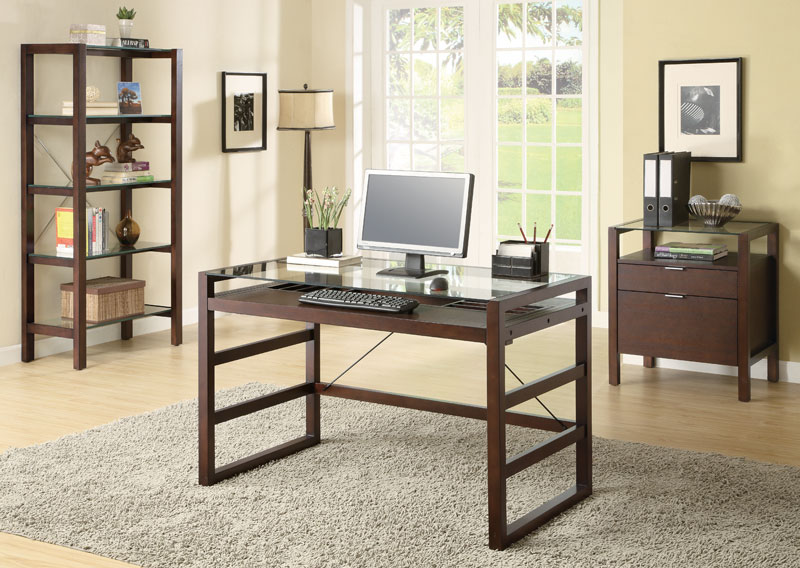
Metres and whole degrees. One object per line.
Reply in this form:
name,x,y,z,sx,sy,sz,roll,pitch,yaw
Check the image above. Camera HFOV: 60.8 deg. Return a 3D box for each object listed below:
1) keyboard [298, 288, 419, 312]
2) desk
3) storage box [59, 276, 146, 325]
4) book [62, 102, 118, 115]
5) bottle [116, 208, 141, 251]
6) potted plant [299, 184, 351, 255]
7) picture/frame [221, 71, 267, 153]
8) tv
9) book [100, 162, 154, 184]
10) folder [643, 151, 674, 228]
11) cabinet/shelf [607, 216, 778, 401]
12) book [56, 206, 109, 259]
keyboard,-0.163,0.065,2.803,0.480,0.062,0.206,6,11,31
desk,-0.060,0.446,3.114,1.612,0.933,0.873,3,4,37
storage box,-2.210,0.120,5.058,0.319,0.215,0.469,5,8,18
book,-2.129,-1.233,4.797,0.219,0.047,0.195,-1,4,-14
bottle,-2.071,-0.428,5.189,0.178,0.272,0.180,2,17,-1
potted plant,-0.359,-0.300,3.372,0.234,0.316,0.213,0,6,-12
picture/frame,-1.404,-1.554,6.120,0.057,0.710,0.494,9,13,41
tv,0.058,-0.282,3.150,0.580,0.470,0.243,8,11,33
book,-2.067,-0.824,5.072,0.212,0.134,0.296,3,6,41
folder,1.687,-0.619,4.430,0.169,0.430,0.466,1,8,21
cabinet/shelf,1.932,0.102,4.484,0.927,1.009,0.621,4,8,41
book,-2.342,-0.392,4.969,0.483,0.443,0.353,6,8,37
